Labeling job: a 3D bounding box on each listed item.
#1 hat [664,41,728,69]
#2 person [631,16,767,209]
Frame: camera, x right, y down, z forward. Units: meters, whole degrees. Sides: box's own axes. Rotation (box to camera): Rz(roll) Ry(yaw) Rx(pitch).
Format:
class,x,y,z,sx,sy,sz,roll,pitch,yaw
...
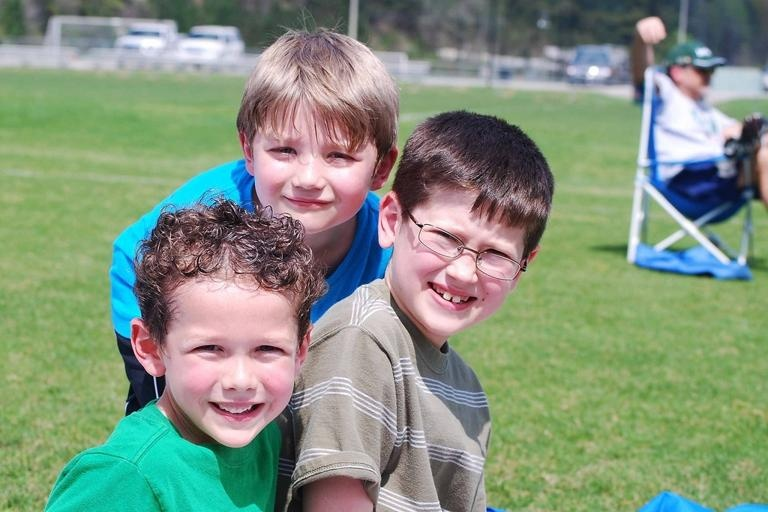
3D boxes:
class,x,y,z,sx,sy,sz,roll,pitch,yaw
hat,2.271,-1.453,6.823,0.272,0.161,0.417,-3,8,-39
person,2.507,-1.094,7.420,1.156,1.472,1.726,6,14,14
